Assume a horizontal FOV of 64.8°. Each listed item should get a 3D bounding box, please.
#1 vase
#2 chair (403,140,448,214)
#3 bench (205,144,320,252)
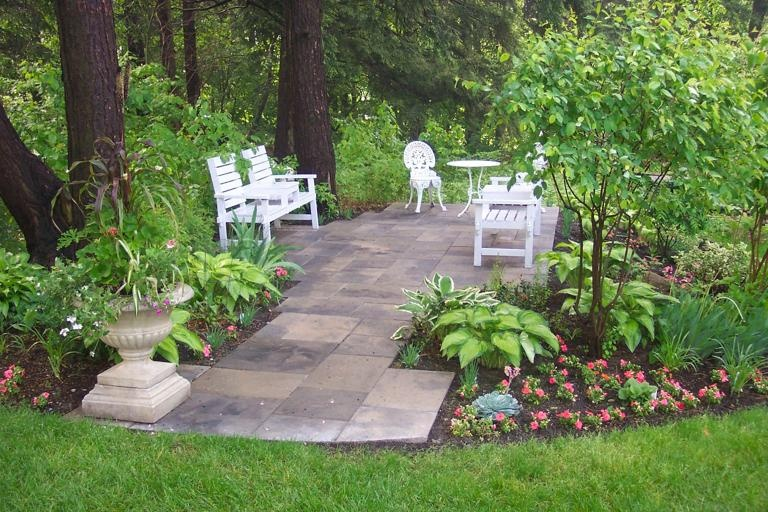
[{"bbox_3d":[-2.148,0.817,5.264,0.992,1.002,0.959,-4,5,-37],"label":"vase"},{"bbox_3d":[0.805,-1.671,12.320,0.818,1.354,2.028,-2,14,3],"label":"chair"},{"bbox_3d":[-1.975,-1.128,9.722,1.980,0.937,1.308,8,21,26],"label":"bench"}]
